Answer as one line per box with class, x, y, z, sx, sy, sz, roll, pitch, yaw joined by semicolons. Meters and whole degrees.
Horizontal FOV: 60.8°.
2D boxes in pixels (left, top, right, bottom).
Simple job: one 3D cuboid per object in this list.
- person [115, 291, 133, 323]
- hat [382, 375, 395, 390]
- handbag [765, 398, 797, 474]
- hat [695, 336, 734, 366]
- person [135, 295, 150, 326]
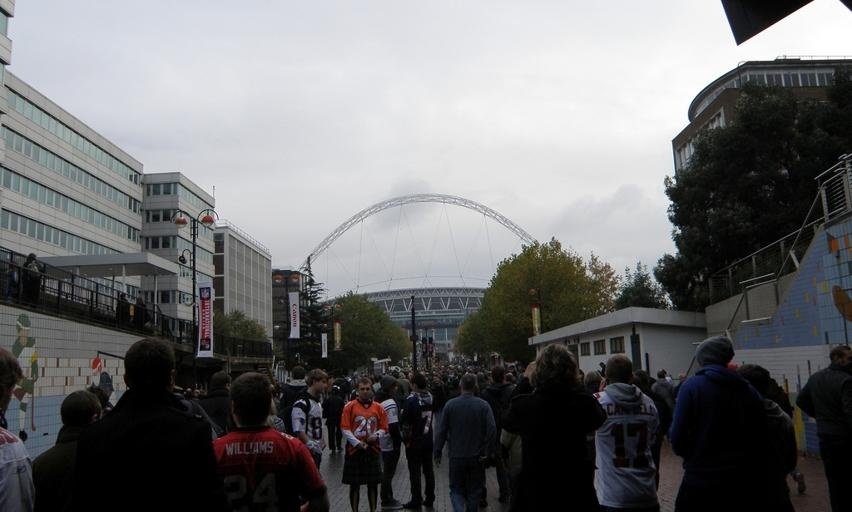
person;-12.510;2.135;30.065;0.411;1.409;1.032;-2;-13;-9
hat;-0.973;3.175;18.304;0.345;0.335;0.554;-3;-14;-4
handbag;6.271;3.220;12.879;0.394;1.346;2.051;-10;-15;24
hat;4.963;1.641;12.539;0.589;0.529;0.302;-1;-14;-12
person;-12.493;2.475;32.165;0.571;1.524;2.045;1;-14;-20
